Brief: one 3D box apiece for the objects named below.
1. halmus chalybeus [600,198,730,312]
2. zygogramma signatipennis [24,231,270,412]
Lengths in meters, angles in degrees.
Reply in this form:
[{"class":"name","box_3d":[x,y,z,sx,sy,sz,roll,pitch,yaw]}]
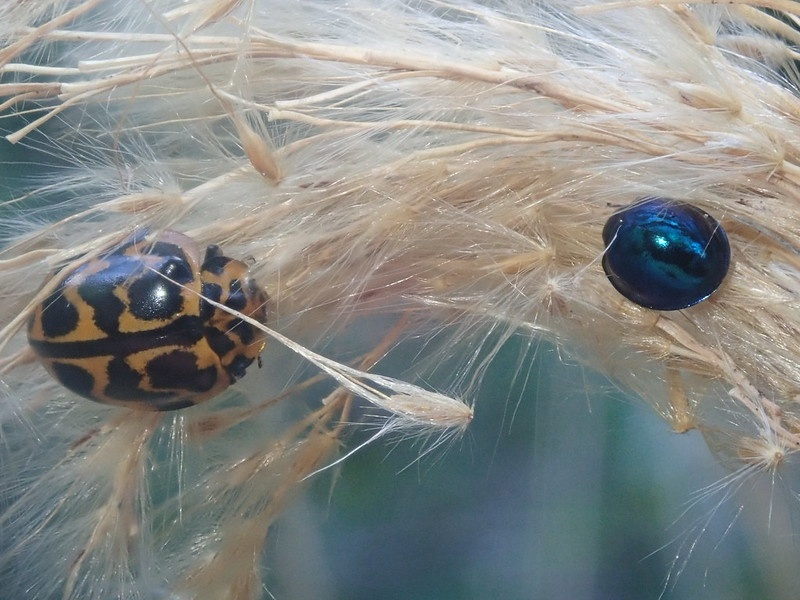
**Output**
[{"class":"halmus chalybeus","box_3d":[0.347,-0.079,1.064,0.269,0.133,0.156,4,28,8]},{"class":"zygogramma signatipennis","box_3d":[-0.340,0.018,1.010,0.362,0.181,0.334,-4,42,-11]}]
